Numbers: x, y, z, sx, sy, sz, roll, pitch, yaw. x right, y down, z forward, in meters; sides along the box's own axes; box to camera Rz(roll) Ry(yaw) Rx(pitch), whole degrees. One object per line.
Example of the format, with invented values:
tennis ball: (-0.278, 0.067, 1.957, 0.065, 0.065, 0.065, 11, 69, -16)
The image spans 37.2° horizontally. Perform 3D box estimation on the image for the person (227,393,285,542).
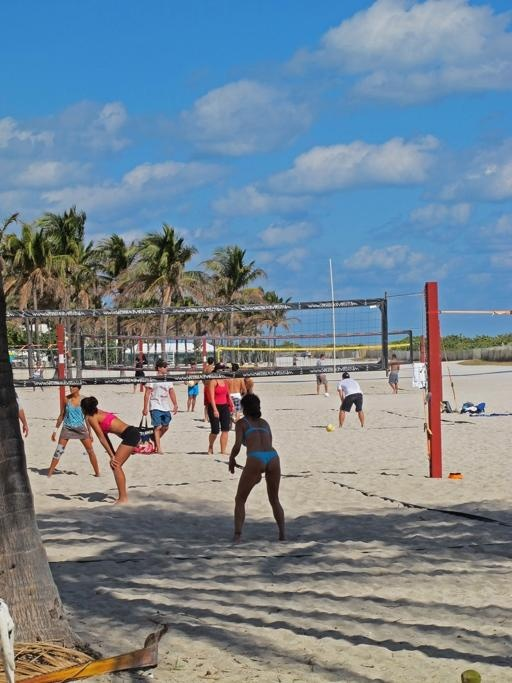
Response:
person: (-0.015, 1.051, 6.361, 0.434, 1.137, 0.543, -5, 1, -2)

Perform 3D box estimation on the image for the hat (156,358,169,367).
hat: (-1.398, 0.313, 11.376, 0.157, 0.153, 0.123, -1, 3, -33)

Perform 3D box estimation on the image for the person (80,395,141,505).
person: (-1.517, 1.123, 8.080, 0.511, 1.117, 0.664, -5, 1, -32)
